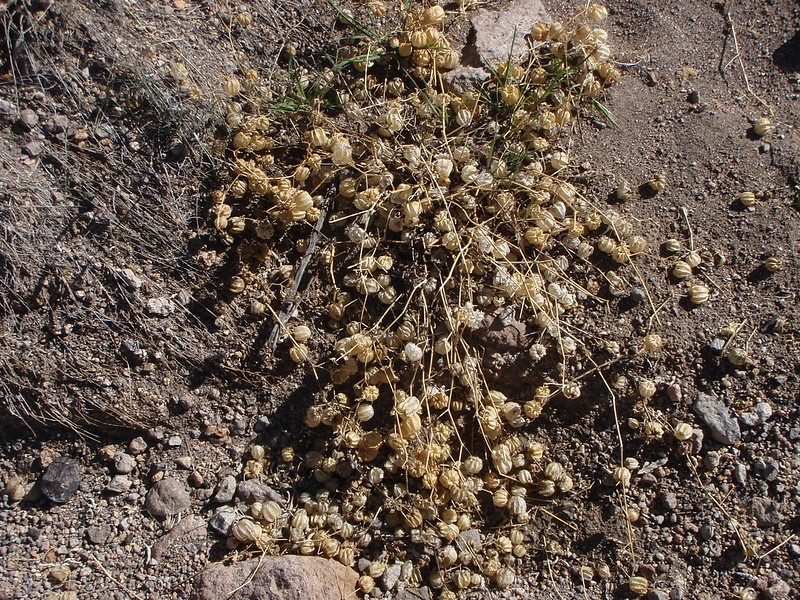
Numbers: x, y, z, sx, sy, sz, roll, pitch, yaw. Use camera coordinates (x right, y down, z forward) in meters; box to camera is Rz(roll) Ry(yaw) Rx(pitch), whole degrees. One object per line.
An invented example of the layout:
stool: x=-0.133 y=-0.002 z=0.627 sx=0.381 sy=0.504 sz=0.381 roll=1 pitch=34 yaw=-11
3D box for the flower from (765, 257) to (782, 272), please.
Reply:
flower: x=3.377 y=-0.323 z=7.203 sx=0.157 sy=0.106 sz=0.105 roll=12 pitch=57 yaw=-4

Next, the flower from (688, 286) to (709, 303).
flower: x=2.678 y=-0.054 z=7.220 sx=0.161 sy=0.143 sz=0.155 roll=0 pitch=100 yaw=-17

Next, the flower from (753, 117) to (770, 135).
flower: x=3.334 y=-1.597 z=7.355 sx=0.147 sy=0.083 sz=0.141 roll=-16 pitch=80 yaw=8

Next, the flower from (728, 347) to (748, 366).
flower: x=2.982 y=0.490 z=7.064 sx=0.156 sy=0.115 sz=0.160 roll=-6 pitch=63 yaw=-4

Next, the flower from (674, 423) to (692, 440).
flower: x=2.505 y=1.149 z=7.049 sx=0.136 sy=0.086 sz=0.152 roll=30 pitch=71 yaw=8

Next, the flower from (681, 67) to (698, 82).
flower: x=2.710 y=-2.119 z=7.488 sx=0.172 sy=0.053 sz=0.134 roll=4 pitch=59 yaw=-10

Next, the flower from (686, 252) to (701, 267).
flower: x=2.646 y=-0.363 z=7.195 sx=0.126 sy=0.077 sz=0.123 roll=-10 pitch=90 yaw=-6

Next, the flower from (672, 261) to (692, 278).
flower: x=2.521 y=-0.276 z=7.159 sx=0.144 sy=0.127 sz=0.140 roll=18 pitch=81 yaw=13
